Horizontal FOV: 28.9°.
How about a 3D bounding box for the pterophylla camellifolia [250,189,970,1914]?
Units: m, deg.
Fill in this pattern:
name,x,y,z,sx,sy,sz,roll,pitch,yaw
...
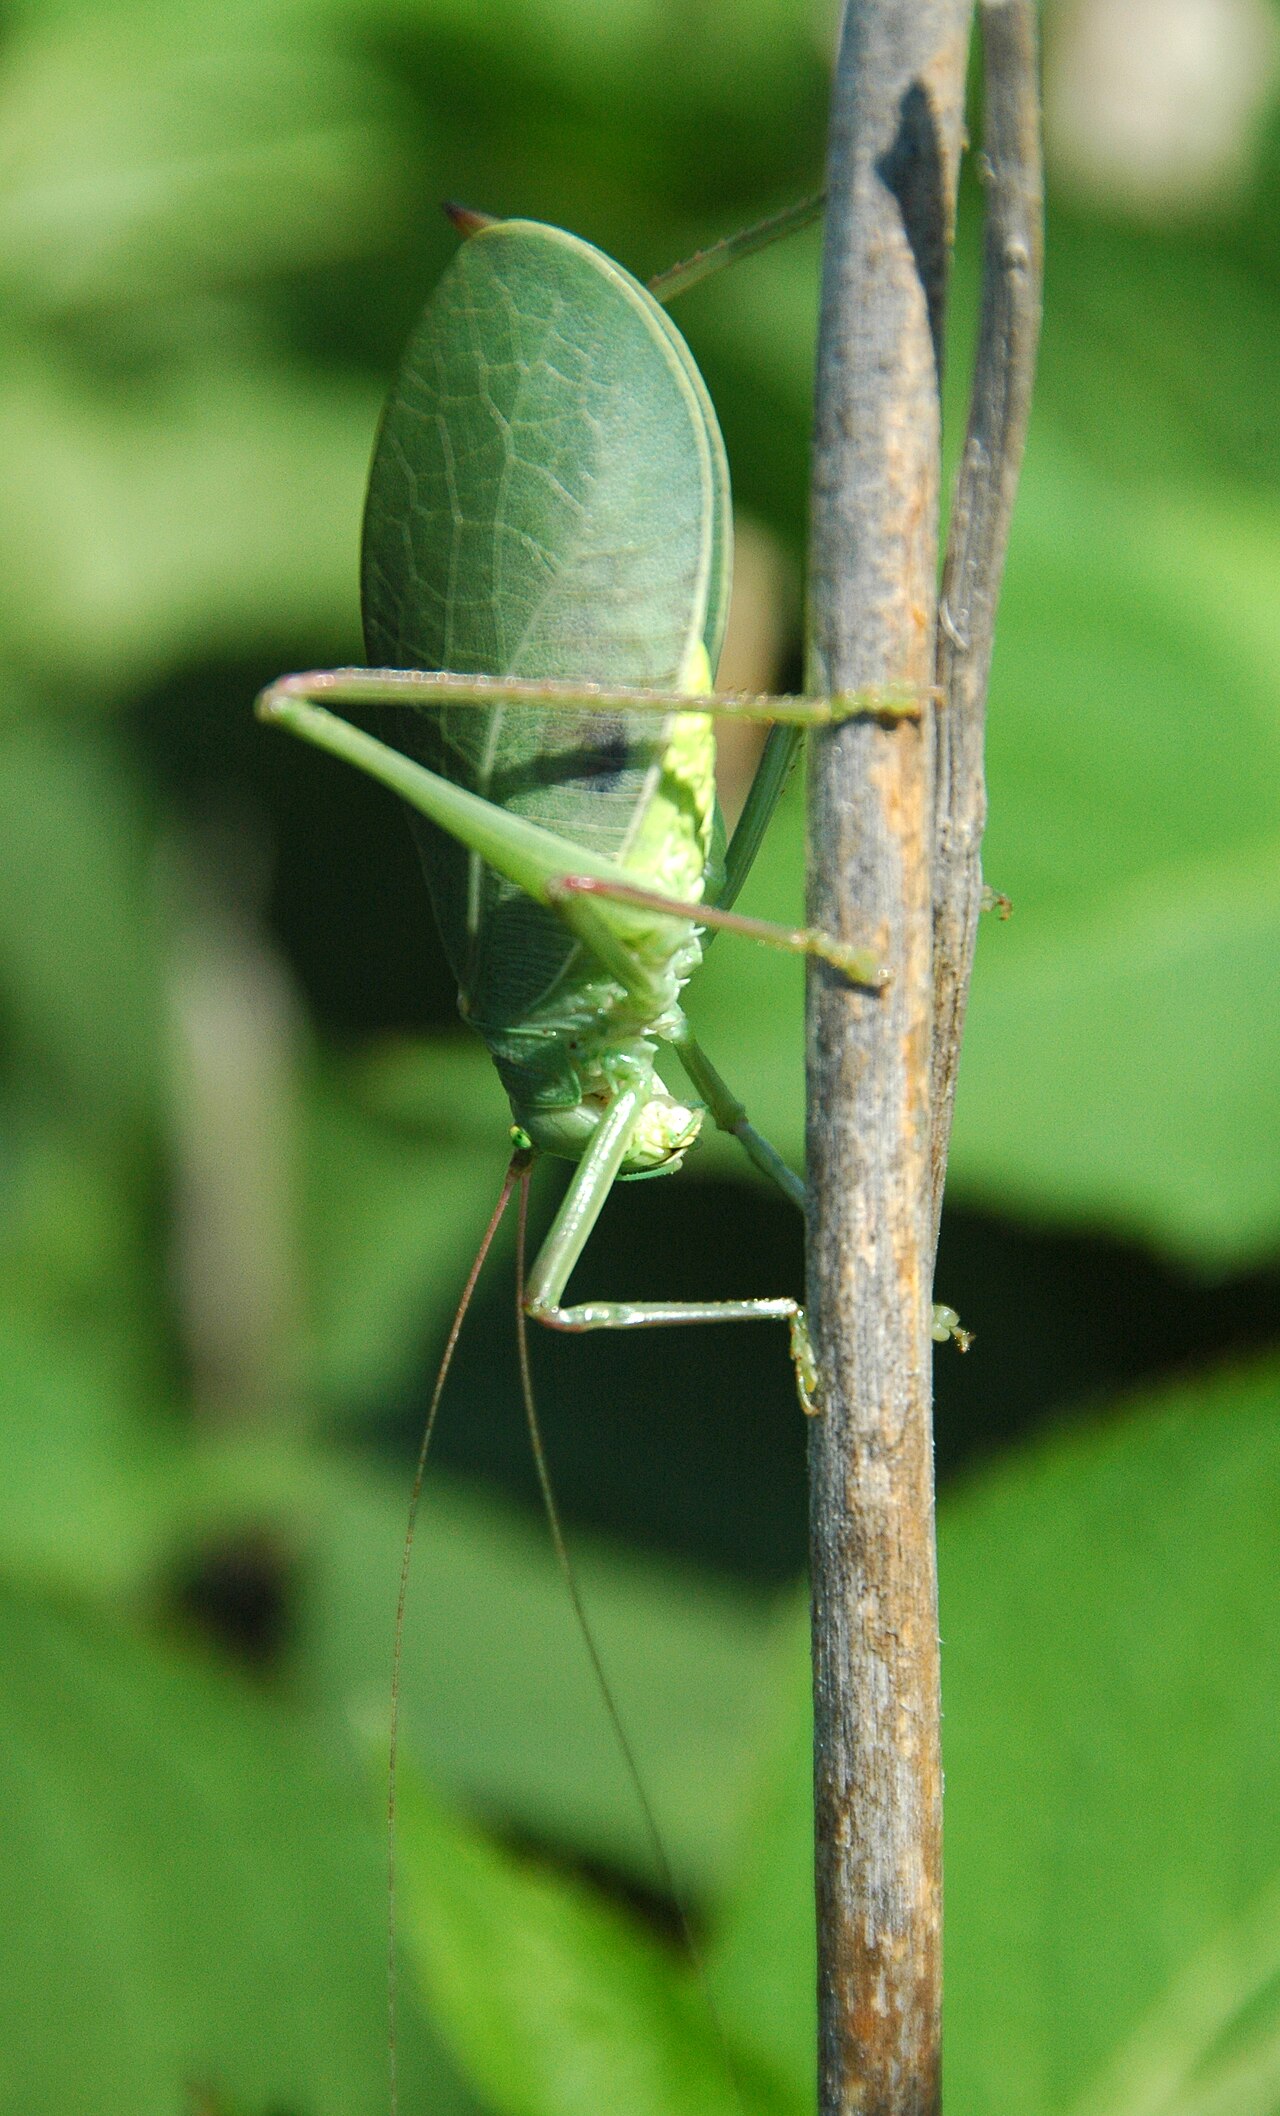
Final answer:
name,x,y,z,sx,sy,sz,roll,pitch,yaw
pterophylla camellifolia,-0.027,-0.013,1.319,0.359,0.808,0.340,-5,-4,23
